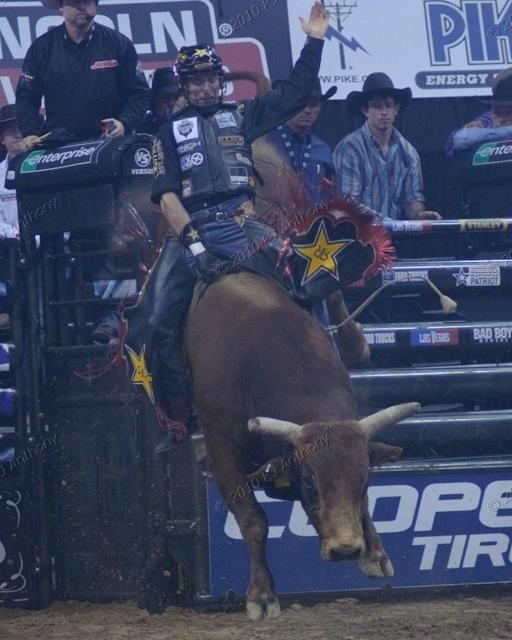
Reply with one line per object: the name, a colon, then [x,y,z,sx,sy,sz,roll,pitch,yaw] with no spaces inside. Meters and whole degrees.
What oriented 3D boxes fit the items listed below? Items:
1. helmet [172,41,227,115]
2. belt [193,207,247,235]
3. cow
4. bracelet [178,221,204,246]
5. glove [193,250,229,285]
helmet: [-0.289,-1.302,9.558,0.251,0.345,0.334,-12,41,-11]
belt: [-0.193,-0.535,9.464,0.172,0.065,0.135,-6,-7,4]
cow: [0.108,0.257,9.618,0.763,2.181,1.467,-12,-28,-7]
bracelet: [-0.334,-0.458,9.384,0.113,0.118,0.081,1,6,-16]
glove: [-0.234,-0.281,9.390,0.140,0.176,0.079,-38,-9,-14]
